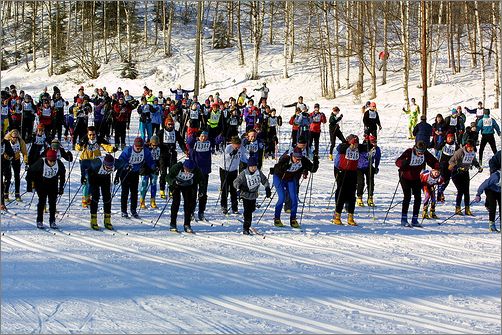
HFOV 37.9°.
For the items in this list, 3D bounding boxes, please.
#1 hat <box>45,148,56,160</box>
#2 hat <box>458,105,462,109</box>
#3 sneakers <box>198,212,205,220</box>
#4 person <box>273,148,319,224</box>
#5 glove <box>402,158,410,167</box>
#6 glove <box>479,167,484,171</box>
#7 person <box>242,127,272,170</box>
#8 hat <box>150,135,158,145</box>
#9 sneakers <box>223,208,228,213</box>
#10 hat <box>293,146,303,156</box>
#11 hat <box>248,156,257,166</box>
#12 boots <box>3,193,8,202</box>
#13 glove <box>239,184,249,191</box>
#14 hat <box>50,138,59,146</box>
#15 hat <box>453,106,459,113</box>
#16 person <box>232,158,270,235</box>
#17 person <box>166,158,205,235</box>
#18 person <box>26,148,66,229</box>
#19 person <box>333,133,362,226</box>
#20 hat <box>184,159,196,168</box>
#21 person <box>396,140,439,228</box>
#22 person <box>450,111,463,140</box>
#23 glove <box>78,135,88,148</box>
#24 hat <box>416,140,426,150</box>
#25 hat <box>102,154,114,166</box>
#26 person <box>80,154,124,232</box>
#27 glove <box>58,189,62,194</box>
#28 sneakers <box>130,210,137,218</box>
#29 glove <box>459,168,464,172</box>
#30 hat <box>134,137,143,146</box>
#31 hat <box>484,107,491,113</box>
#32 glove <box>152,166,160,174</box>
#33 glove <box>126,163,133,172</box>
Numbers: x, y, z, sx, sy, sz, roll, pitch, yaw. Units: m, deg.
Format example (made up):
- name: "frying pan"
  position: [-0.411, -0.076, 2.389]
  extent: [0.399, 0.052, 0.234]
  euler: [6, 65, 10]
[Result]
- name: "hat"
  position: [-6.727, -0.435, 24.473]
  extent: [0.327, 0.399, 0.324]
  euler: [0, -1, -10]
- name: "hat"
  position: [10.356, -2.997, 35.960]
  extent: [0.165, 0.090, 0.163]
  euler: [-19, -1, -30]
- name: "sneakers"
  position: [-1.749, 1.736, 26.252]
  extent: [0.197, 0.323, 0.234]
  euler: [-18, -2, 5]
- name: "person"
  position: [1.432, 0.694, 25.859]
  extent: [1.476, 2.845, 1.088]
  euler: [0, -1, -37]
- name: "glove"
  position: [5.558, -0.196, 25.988]
  extent: [0.204, 0.204, 0.209]
  euler: [-20, -33, -1]
- name: "glove"
  position: [8.581, 0.049, 27.072]
  extent: [0.106, 0.150, 0.141]
  euler: [10, 0, 23]
- name: "person"
  position: [0.058, -0.467, 28.127]
  extent: [0.898, 2.000, 0.592]
  euler: [0, -27, 3]
- name: "hat"
  position: [-3.526, -1.031, 26.620]
  extent: [0.290, 0.306, 0.292]
  euler: [0, -1, -16]
- name: "sneakers"
  position: [-0.949, 1.557, 26.932]
  extent: [0.188, 0.119, 0.243]
  euler: [0, -2, 2]
- name: "hat"
  position: [1.662, -0.557, 25.560]
  extent: [0.269, 0.352, 0.397]
  euler: [0, -1, 11]
- name: "hat"
  position: [0.055, -0.212, 25.139]
  extent: [0.313, 0.345, 0.568]
  euler: [0, -1, -5]
- name: "boots"
  position: [-9.063, 1.080, 26.896]
  extent: [0.223, 0.384, 0.209]
  euler: [3, -37, -16]
- name: "glove"
  position: [-0.243, 0.692, 24.848]
  extent: [0.322, 0.207, 0.208]
  euler: [22, 0, 36]
- name: "hat"
  position: [-6.714, -0.874, 24.878]
  extent: [0.263, 0.260, 0.261]
  euler: [-5, 8, -15]
- name: "hat"
  position: [9.505, -2.631, 33.748]
  extent: [0.212, 0.203, 0.215]
  euler: [0, 5, 20]
- name: "person"
  position: [0.036, 0.951, 25.184]
  extent: [1.224, 2.691, 0.795]
  euler: [0, -1, 6]
- name: "person"
  position: [-2.279, 0.967, 24.949]
  extent: [1.260, 2.507, 0.827]
  euler: [0, -1, -7]
- name: "person"
  position: [-6.936, 0.717, 24.660]
  extent: [1.162, 2.696, 0.774]
  euler: [0, -1, -4]
- name: "person"
  position: [3.473, 0.455, 26.278]
  extent: [0.877, 3.252, 0.361]
  euler: [0, -1, 7]
- name: "hat"
  position: [-2.098, -0.132, 24.732]
  extent: [0.405, 0.317, 0.315]
  euler: [0, -1, -13]
- name: "person"
  position: [5.936, 0.591, 26.323]
  extent: [1.376, 3.078, 0.772]
  euler: [0, -1, 3]
- name: "person"
  position: [9.481, -2.012, 33.436]
  extent: [0.615, 1.426, 2.432]
  euler: [-1, -1, 16]
- name: "glove"
  position: [-6.136, -0.976, 26.532]
  extent: [0.339, 0.419, 0.332]
  euler: [0, -1, -19]
- name: "hat"
  position: [6.128, -0.791, 26.122]
  extent: [0.333, 0.287, 0.288]
  euler: [-2, 12, -37]
- name: "hat"
  position: [-4.826, -0.274, 24.672]
  extent: [0.360, 0.402, 0.321]
  euler: [0, -1, -11]
- name: "person"
  position: [-5.094, 0.822, 25.045]
  extent: [1.081, 2.587, 0.981]
  euler: [-1, -1, 16]
- name: "glove"
  position: [-6.506, 0.801, 24.862]
  extent: [0.103, 0.036, 0.108]
  euler: [8, -41, -43]
- name: "sneakers"
  position: [-4.207, 1.654, 26.156]
  extent: [0.269, 0.261, 0.161]
  euler: [9, 0, 18]
- name: "glove"
  position: [7.874, 0.072, 27.068]
  extent: [0.246, 0.128, 0.091]
  euler: [0, -1, 16]
- name: "hat"
  position: [-3.953, -0.922, 25.578]
  extent: [0.307, 0.295, 0.278]
  euler: [0, -1, -8]
- name: "hat"
  position: [10.839, -2.574, 33.256]
  extent: [0.297, 0.275, 0.502]
  euler: [5, 9, 18]
- name: "glove"
  position: [-3.405, 0.086, 25.937]
  extent: [0.226, 0.296, 0.300]
  euler: [0, -1, -7]
- name: "glove"
  position: [-4.268, -0.017, 25.553]
  extent: [0.230, 0.298, 0.095]
  euler: [-4, 1, -17]
